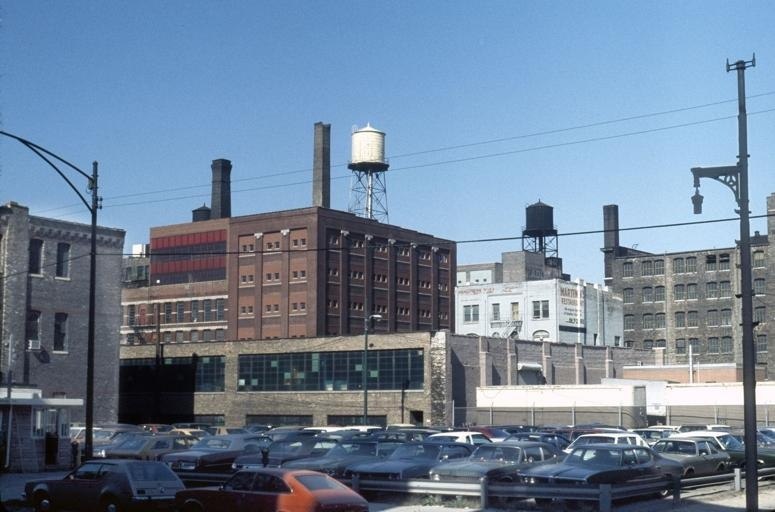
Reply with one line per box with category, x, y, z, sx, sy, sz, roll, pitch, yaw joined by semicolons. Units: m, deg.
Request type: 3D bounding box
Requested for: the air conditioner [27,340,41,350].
air conditioner;-30.557;7.670;120.919;0.725;0.848;1.274;-6;-7;39
